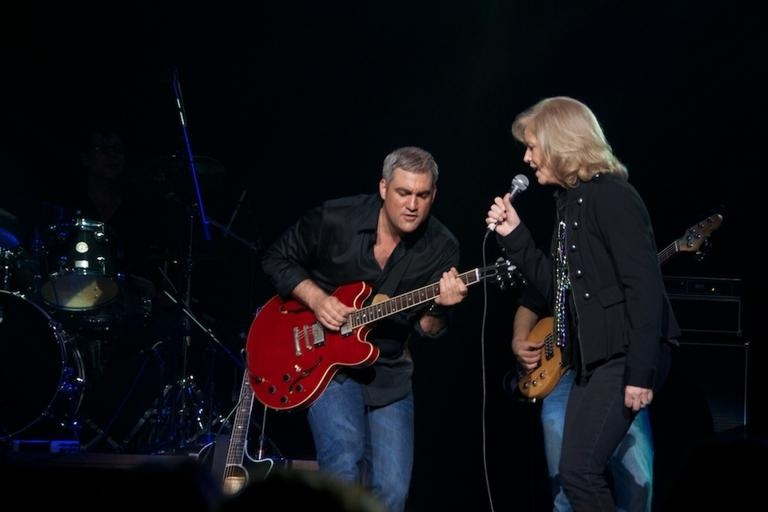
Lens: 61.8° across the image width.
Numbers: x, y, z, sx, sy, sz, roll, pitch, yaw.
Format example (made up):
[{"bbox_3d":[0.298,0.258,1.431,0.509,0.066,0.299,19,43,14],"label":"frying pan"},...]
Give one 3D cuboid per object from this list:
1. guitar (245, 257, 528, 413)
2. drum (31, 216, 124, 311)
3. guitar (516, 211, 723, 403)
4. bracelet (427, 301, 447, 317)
[{"bbox_3d":[0.026,0.664,5.165,2.256,1.032,0.275,-22,-22,21],"label":"guitar"},{"bbox_3d":[-2.808,0.129,6.141,0.790,0.780,0.803,14,-45,-34],"label":"drum"},{"bbox_3d":[1.714,0.431,4.661,0.220,0.578,1.613,10,-41,-25],"label":"guitar"},{"bbox_3d":[0.412,0.430,5.012,0.168,0.087,0.024,22,2,6],"label":"bracelet"}]
